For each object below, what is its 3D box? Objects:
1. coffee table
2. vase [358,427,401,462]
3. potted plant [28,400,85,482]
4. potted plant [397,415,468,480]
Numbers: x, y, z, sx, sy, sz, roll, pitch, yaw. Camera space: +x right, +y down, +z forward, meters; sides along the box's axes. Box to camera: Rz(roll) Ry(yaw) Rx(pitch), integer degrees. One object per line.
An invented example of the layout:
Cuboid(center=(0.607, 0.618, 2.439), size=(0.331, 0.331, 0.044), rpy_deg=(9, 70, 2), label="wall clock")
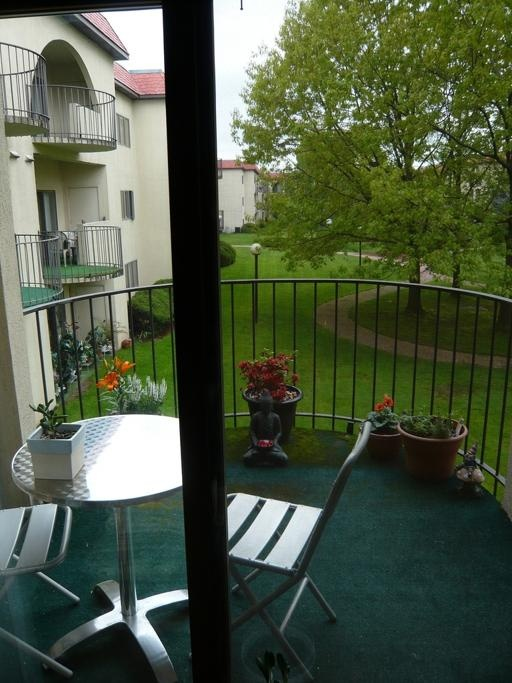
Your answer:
Cuboid(center=(-0.475, 0.542, 1.555), size=(0.488, 0.668, 0.686), rpy_deg=(-4, 12, -11), label="coffee table")
Cuboid(center=(0.765, 0.628, 3.020), size=(0.211, 0.172, 0.221), rpy_deg=(-1, 8, -3), label="vase")
Cuboid(center=(-0.551, 0.272, 1.390), size=(0.134, 0.219, 0.122), rpy_deg=(-2, 12, -2), label="potted plant")
Cuboid(center=(0.961, 0.550, 2.779), size=(0.344, 0.255, 0.333), rpy_deg=(-13, 17, -42), label="potted plant")
